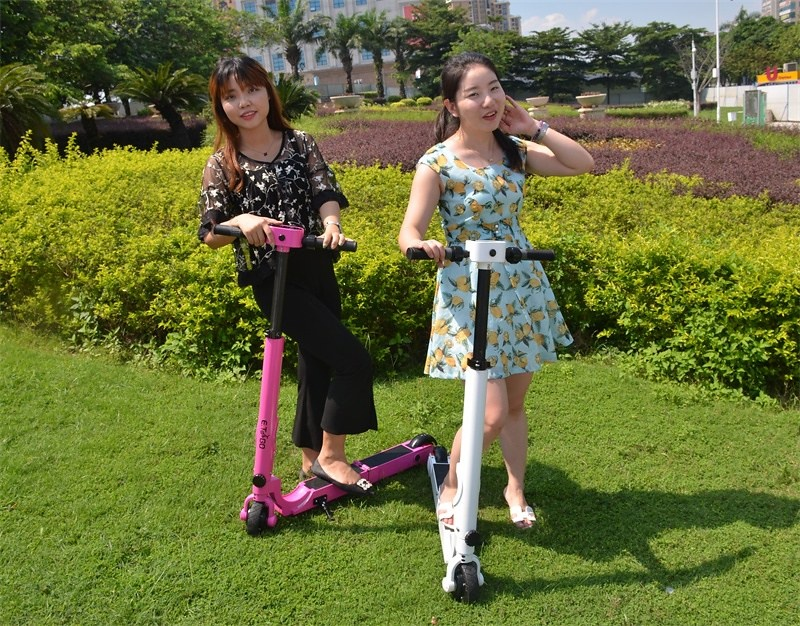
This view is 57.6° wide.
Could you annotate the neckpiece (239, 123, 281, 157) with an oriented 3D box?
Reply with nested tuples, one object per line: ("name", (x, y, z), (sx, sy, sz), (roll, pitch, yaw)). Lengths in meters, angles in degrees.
("neckpiece", (-0.784, -0.976, 4.127), (0.214, 0.184, 0.259), (-5, 16, -15))

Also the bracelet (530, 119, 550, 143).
("bracelet", (0.795, -1.023, 4.114), (0.041, 0.110, 0.124), (24, 40, -8))

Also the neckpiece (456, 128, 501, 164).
("neckpiece", (0.421, -0.871, 3.933), (0.185, 0.102, 0.229), (-38, 57, -22))

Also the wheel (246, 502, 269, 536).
("wheel", (-0.798, 1.160, 4.081), (0.073, 0.149, 0.139), (0, -20, 4))

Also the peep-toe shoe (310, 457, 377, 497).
("peep-toe shoe", (-0.324, 1.012, 4.298), (0.403, 0.155, 0.159), (27, 15, 2))

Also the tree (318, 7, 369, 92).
("tree", (-3.443, -16.656, 47.256), (3.579, 4.677, 3.562), (-16, 15, -33))

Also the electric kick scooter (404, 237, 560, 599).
("electric kick scooter", (0.380, 0.543, 3.756), (0.480, 1.830, 0.338), (-12, 18, -40))
